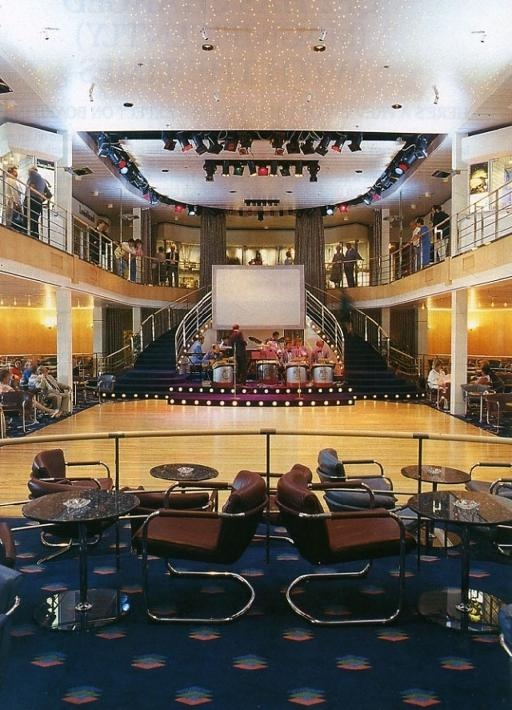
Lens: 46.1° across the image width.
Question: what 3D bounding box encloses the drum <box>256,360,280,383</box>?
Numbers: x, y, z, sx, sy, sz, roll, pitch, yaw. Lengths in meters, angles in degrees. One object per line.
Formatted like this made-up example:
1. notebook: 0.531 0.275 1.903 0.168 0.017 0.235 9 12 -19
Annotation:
1. drum: 0.288 0.406 14.385 0.530 0.581 0.522 -1 -4 4

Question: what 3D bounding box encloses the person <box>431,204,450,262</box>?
1. person: 3.845 -2.582 12.532 0.307 1.085 0.319 -13 10 -13

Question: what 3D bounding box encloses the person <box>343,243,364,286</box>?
1. person: 2.774 -2.548 17.394 0.445 1.237 1.541 0 2 8

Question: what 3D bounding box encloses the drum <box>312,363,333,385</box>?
1. drum: 1.474 0.415 13.109 0.432 0.434 0.432 -1 4 22

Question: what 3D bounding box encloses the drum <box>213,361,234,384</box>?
1. drum: -0.652 0.409 13.040 0.465 0.425 0.411 -2 -2 37

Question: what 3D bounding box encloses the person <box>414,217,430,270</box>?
1. person: 3.664 -2.471 13.214 0.368 1.199 1.540 1 2 14

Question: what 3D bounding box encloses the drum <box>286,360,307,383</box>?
1. drum: 0.888 0.418 13.190 0.429 0.473 0.401 0 2 1

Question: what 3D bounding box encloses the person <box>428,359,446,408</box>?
1. person: 3.836 0.603 12.484 0.548 0.956 0.542 4 16 20
